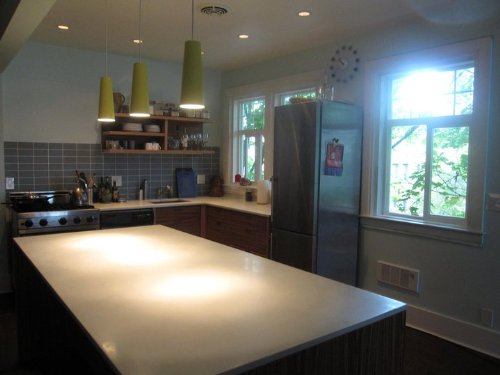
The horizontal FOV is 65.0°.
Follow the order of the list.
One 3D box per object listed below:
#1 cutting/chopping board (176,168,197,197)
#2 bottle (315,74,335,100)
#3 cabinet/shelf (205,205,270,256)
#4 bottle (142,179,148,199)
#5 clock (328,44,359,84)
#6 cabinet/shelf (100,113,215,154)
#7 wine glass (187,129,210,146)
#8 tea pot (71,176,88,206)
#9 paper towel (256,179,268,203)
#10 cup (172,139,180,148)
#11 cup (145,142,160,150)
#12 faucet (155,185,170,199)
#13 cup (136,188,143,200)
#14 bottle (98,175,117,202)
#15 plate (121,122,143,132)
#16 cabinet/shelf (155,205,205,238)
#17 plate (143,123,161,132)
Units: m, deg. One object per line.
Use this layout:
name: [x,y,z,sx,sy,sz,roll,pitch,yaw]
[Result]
cutting/chopping board: [-0.949,-0.076,5.893,0.295,0.446,0.043,-1,12,14]
bottle: [0.853,-1.104,4.403,0.148,0.267,0.159,1,21,0]
cabinet/shelf: [-0.268,0.567,4.902,0.980,0.515,0.294,18,-29,-34]
bottle: [-1.489,0.022,5.545,0.071,0.276,0.145,-1,12,-8]
clock: [1.064,-1.405,4.461,0.061,0.410,0.400,-9,15,-38]
cabinet/shelf: [-1.272,-0.716,5.377,0.437,0.536,1.570,7,9,39]
wine glass: [-0.761,-0.674,5.682,0.248,0.311,0.272,0,2,-16]
tea pot: [-2.054,0.043,4.753,0.243,0.302,0.212,10,15,37]
paper towel: [0.169,0.060,5.206,0.158,0.307,0.083,1,12,2]
cup: [-1.028,-0.597,5.402,0.102,0.127,0.107,2,6,0]
cup: [-1.311,-0.546,5.254,0.142,0.106,0.093,1,-2,-15]
faucet: [-1.253,0.071,5.689,0.211,0.166,0.112,-3,12,-18]
cup: [-1.529,0.109,5.483,0.119,0.205,0.121,1,4,0]
bottle: [-1.886,0.027,5.189,0.239,0.310,0.266,-4,13,-21]
plate: [-1.538,-0.786,5.126,0.241,0.107,0.134,-6,14,-29]
cabinet/shelf: [-0.930,0.412,5.152,0.643,0.642,0.349,3,-4,-41]
plate: [-1.322,-0.799,5.283,0.136,0.067,0.166,1,-2,-6]
